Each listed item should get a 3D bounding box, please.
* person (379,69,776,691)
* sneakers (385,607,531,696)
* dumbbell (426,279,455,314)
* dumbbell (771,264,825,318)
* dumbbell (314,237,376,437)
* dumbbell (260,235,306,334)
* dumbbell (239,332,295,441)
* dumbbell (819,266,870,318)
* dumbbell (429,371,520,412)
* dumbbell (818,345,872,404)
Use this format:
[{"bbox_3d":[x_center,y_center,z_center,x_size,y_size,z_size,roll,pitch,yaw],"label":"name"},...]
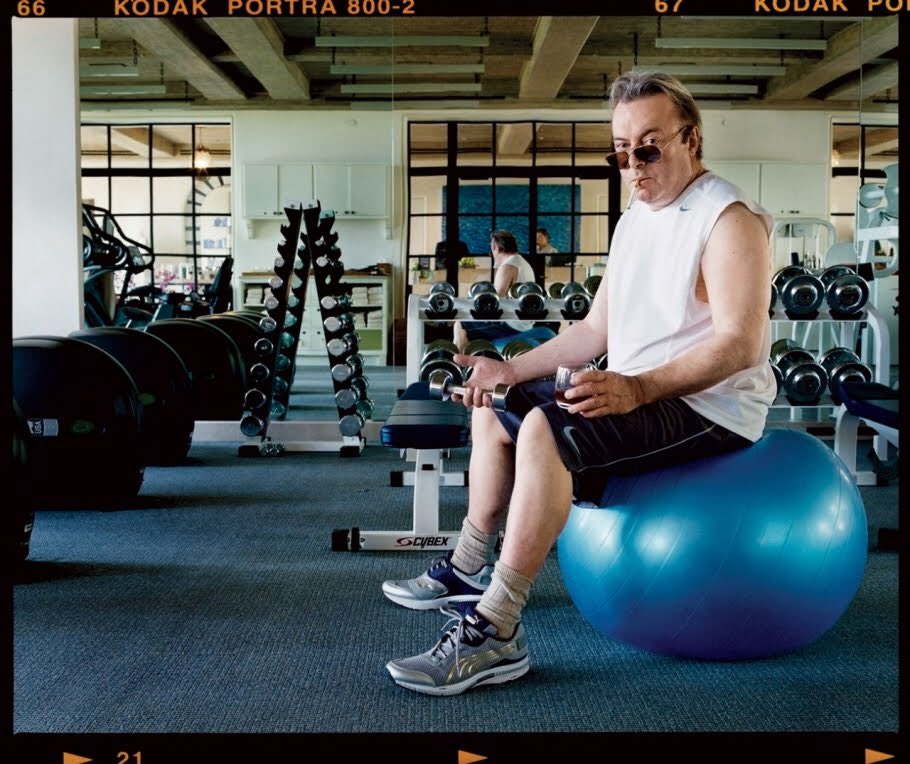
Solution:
[{"bbox_3d":[0.208,-0.033,1.628,0.980,1.130,0.672,-5,7,-27],"label":"person"},{"bbox_3d":[-0.014,0.516,1.532,0.410,0.136,0.145,-1,4,-23],"label":"sneakers"},{"bbox_3d":[-0.071,-0.462,4.173,0.148,0.141,0.216,4,5,-2],"label":"dumbbell"},{"bbox_3d":[1.724,-0.439,3.791,0.245,0.263,0.185,1,6,15],"label":"dumbbell"},{"bbox_3d":[-0.591,-0.221,3.941,0.307,1.016,0.358,4,6,0],"label":"dumbbell"},{"bbox_3d":[-0.957,-0.583,4.259,0.259,0.692,0.826,-2,6,-13],"label":"dumbbell"},{"bbox_3d":[-0.988,0.017,3.921,0.283,0.519,0.296,3,8,-1],"label":"dumbbell"},{"bbox_3d":[1.958,-0.442,3.801,0.230,0.257,0.162,1,6,15],"label":"dumbbell"},{"bbox_3d":[0.063,0.018,1.652,0.203,0.102,0.183,3,6,-15],"label":"dumbbell"},{"bbox_3d":[1.767,-0.032,3.460,0.158,0.148,0.345,-2,9,9],"label":"dumbbell"}]
